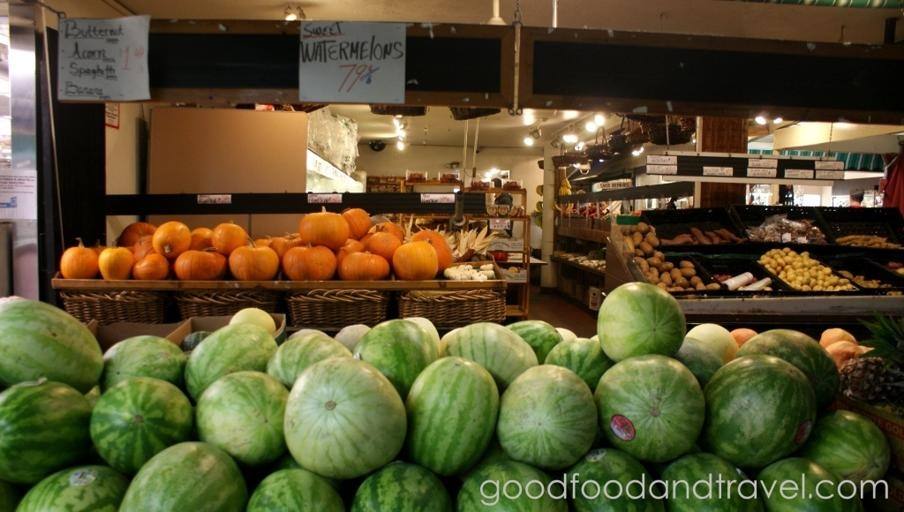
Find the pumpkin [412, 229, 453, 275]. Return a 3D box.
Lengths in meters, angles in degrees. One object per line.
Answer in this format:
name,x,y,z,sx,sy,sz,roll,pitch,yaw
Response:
pumpkin,-0.146,-0.079,4.765,0.314,0.269,0.294,-5,46,0

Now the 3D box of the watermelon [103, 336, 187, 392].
watermelon,-1.593,0.515,3.406,0.315,0.291,0.357,-3,0,-1

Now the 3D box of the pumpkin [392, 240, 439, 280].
pumpkin,-0.259,0.040,4.608,0.275,0.277,0.284,-3,-6,8

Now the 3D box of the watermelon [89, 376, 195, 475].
watermelon,-1.474,0.739,3.272,0.451,0.504,0.453,4,8,28

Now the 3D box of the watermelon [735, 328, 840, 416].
watermelon,1.724,0.571,3.286,0.366,0.359,0.478,-7,-3,29

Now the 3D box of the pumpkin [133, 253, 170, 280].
pumpkin,-2.063,0.070,4.430,0.236,0.163,0.131,-4,9,-23

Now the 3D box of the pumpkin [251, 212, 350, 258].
pumpkin,-0.937,-0.166,4.677,0.370,0.326,0.360,-2,8,-17

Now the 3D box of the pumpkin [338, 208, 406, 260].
pumpkin,-0.599,-0.171,4.795,0.354,0.197,0.446,6,2,-21

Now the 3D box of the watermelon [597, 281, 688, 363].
watermelon,1.001,0.348,3.442,0.462,0.446,0.483,-2,1,-11

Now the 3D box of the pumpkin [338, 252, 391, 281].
pumpkin,-0.612,0.061,4.455,0.226,0.160,0.233,4,-1,21

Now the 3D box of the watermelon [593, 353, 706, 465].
watermelon,0.936,0.734,3.118,0.440,0.412,0.537,2,-13,7

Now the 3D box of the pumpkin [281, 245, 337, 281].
pumpkin,-0.977,0.020,4.437,0.268,0.229,0.262,-4,6,-43

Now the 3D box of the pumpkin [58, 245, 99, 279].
pumpkin,-2.575,0.023,4.508,0.239,0.271,0.238,2,4,-13

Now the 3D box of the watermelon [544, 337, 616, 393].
watermelon,0.657,0.535,3.319,0.280,0.323,0.277,1,-8,22

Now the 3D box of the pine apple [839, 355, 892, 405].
pine apple,2.091,0.611,3.243,0.219,0.222,0.198,3,-2,-35

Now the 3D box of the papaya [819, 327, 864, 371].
papaya,2.260,0.504,3.775,0.262,0.127,0.312,-8,9,6

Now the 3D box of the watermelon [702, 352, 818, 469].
watermelon,1.484,0.752,3.163,0.538,0.521,0.178,-2,8,-6

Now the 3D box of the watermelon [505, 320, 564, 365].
watermelon,0.445,0.457,3.546,0.275,0.193,0.202,2,27,-4

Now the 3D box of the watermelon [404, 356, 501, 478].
watermelon,0.002,0.752,3.197,0.544,0.653,0.502,6,-15,4

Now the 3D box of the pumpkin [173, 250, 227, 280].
pumpkin,-1.730,0.064,4.432,0.239,0.206,0.238,1,4,18

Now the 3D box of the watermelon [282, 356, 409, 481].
watermelon,-0.491,0.729,3.235,0.579,0.527,0.557,18,19,9

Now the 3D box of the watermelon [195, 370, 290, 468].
watermelon,-1.007,0.779,3.261,0.516,0.435,0.415,7,-36,-31

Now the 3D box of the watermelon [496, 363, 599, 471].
watermelon,0.482,0.711,3.239,0.431,0.465,0.500,23,17,16

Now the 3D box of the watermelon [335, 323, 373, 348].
watermelon,-0.558,0.446,3.709,0.156,0.101,0.188,-8,0,30

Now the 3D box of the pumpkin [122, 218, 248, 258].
pumpkin,-1.920,-0.121,4.621,0.736,0.254,0.422,3,-1,-23

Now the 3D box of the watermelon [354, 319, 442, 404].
watermelon,-0.274,0.547,3.342,0.423,0.302,0.313,9,40,-10

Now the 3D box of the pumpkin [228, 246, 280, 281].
pumpkin,-1.364,0.032,4.418,0.257,0.237,0.254,0,0,-16

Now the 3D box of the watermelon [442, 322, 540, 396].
watermelon,0.196,0.485,3.337,0.411,0.232,0.321,12,10,42

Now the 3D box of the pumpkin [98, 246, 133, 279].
pumpkin,-2.283,0.031,4.434,0.223,0.257,0.219,-2,4,-18

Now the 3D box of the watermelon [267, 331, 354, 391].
watermelon,-0.751,0.560,3.351,0.372,0.294,0.308,-16,-25,-29
